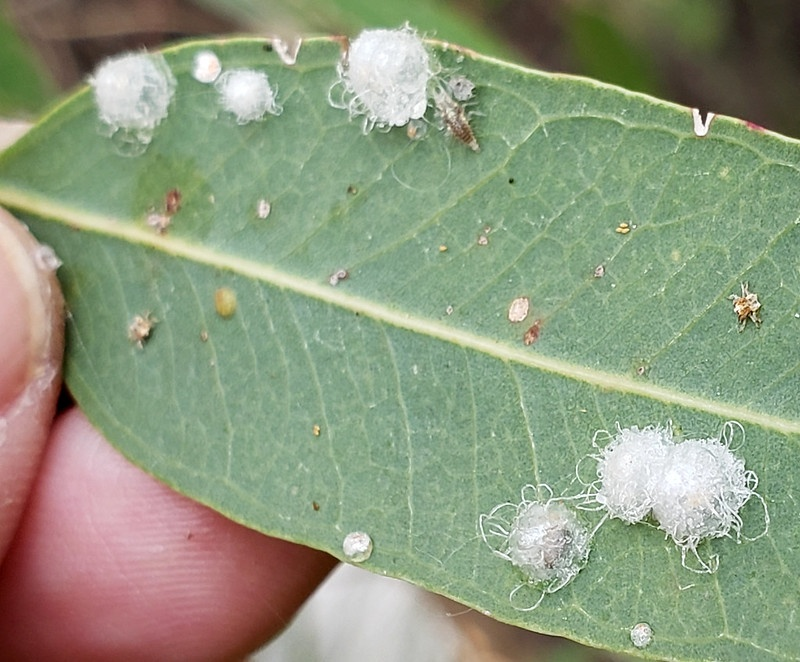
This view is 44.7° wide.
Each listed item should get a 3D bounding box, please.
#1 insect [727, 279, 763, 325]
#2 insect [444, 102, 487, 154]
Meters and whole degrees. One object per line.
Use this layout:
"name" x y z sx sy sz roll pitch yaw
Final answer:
"insect" 1.099 -0.081 3.082 0.087 0.090 0.096 -22 43 11
"insect" 0.208 -0.657 3.167 0.079 0.190 0.044 -28 11 18
